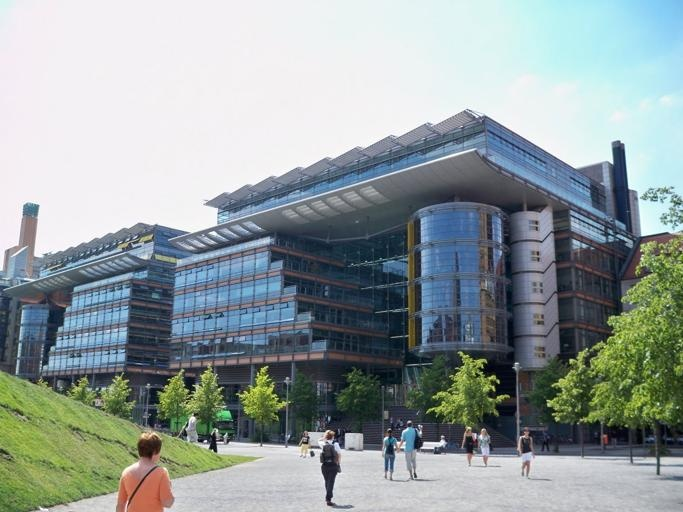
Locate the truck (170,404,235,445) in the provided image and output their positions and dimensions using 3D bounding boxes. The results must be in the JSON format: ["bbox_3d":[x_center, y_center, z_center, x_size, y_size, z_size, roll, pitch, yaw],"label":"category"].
[{"bbox_3d":[-14.461,17.485,68.028,7.530,3.026,2.757,-10,-13,38],"label":"truck"}]

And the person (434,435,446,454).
[{"bbox_3d":[6.939,13.508,47.247,1.186,0.963,1.087,-9,-32,28],"label":"person"}]
